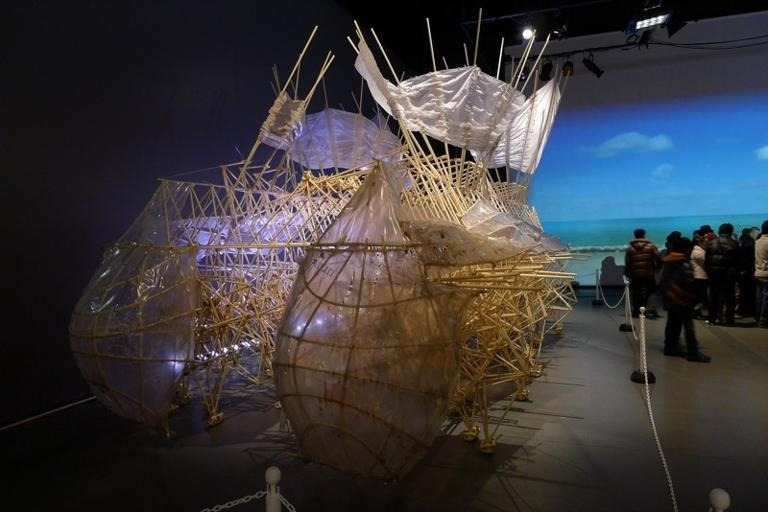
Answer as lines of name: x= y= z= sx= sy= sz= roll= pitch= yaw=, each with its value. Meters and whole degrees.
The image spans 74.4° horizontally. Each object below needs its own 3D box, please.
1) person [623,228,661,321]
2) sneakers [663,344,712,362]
person: x=5.358 y=0.400 z=10.496 sx=0.624 sy=1.959 sz=1.224 roll=1 pitch=6 yaw=27
sneakers: x=4.968 y=1.584 z=8.256 sx=0.677 sy=0.287 sz=0.238 roll=-10 pitch=-4 yaw=44
